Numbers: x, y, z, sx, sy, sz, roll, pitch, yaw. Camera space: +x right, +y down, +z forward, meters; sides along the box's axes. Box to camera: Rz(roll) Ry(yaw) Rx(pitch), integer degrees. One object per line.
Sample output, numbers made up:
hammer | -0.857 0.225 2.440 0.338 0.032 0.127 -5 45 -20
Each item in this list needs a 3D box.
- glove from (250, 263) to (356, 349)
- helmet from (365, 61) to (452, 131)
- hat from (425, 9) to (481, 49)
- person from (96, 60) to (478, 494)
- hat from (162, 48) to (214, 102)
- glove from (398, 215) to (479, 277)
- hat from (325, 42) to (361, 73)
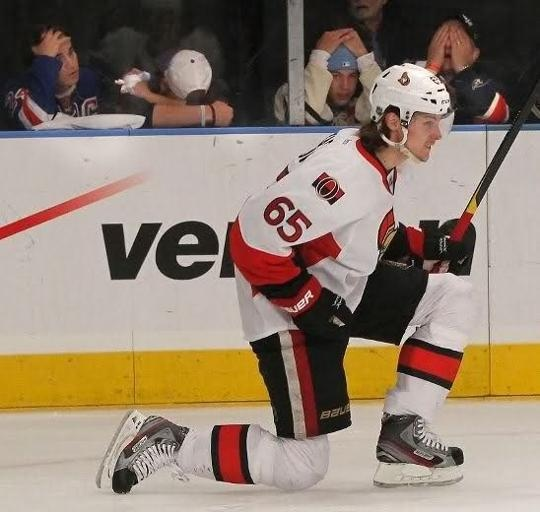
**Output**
glove | 0.127 0.143 3.614 0.335 0.199 0.199 25 35 -2
helmet | 0.517 -0.576 3.613 0.281 0.260 0.204 10 11 10
hat | 0.939 -1.144 4.908 0.153 0.190 0.086 -28 3 -27
person | 0.140 0.089 3.673 1.349 1.520 0.545 -4 15 -10
hat | -0.397 -0.862 4.761 0.186 0.243 0.198 2 -16 -21
glove | 0.846 -0.058 4.443 0.316 0.287 0.083 3 -3 4
hat | 0.354 -0.929 4.682 0.126 0.103 0.135 1 14 -4
